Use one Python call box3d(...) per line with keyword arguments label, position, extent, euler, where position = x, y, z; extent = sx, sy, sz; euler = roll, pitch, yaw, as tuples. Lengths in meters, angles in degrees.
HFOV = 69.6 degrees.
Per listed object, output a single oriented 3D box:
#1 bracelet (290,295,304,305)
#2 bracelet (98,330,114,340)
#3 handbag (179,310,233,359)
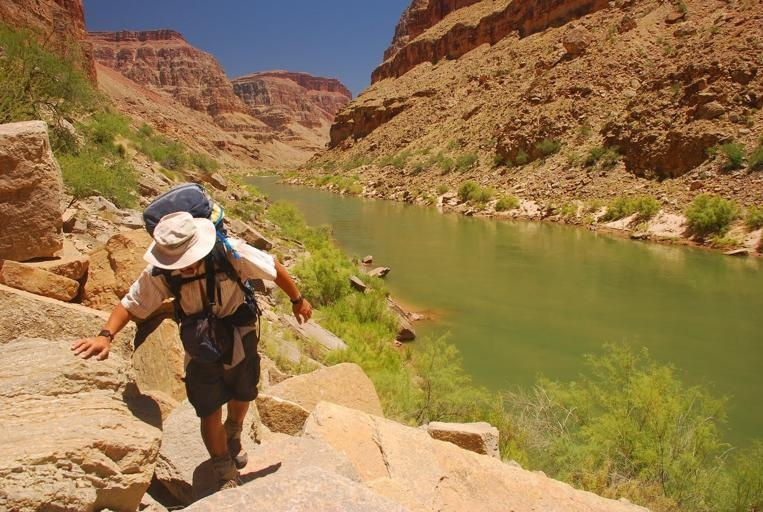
box3d(label="bracelet", position=(-1.244, 0.638, 7.930), extent=(0.182, 0.129, 0.195), euler=(-5, -2, 19))
box3d(label="bracelet", position=(-3.773, 1.069, 7.497), extent=(0.175, 0.122, 0.185), euler=(-25, -29, 34))
box3d(label="handbag", position=(-2.397, 1.098, 7.763), extent=(0.652, 0.689, 0.571), euler=(-1, 9, -1))
